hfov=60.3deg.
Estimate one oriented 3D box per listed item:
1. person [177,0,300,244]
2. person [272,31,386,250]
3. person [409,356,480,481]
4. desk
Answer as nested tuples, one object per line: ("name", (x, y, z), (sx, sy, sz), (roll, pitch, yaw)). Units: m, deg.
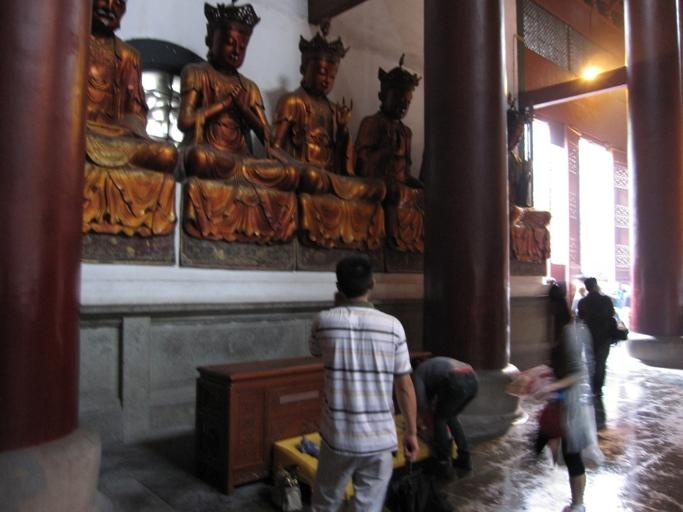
("person", (-0.936, -1.209, 5.190), (0.992, 2.178, 0.900), (-1, 3, -22))
("person", (-0.169, -1.169, 5.869), (0.933, 2.264, 1.156), (-2, -7, 26))
("person", (0.632, 0.987, 3.648), (0.375, 0.792, 0.495), (1, 3, 11))
("desk", (-0.368, 1.059, 3.973), (0.302, 0.757, 1.158), (3, 1, 44))
